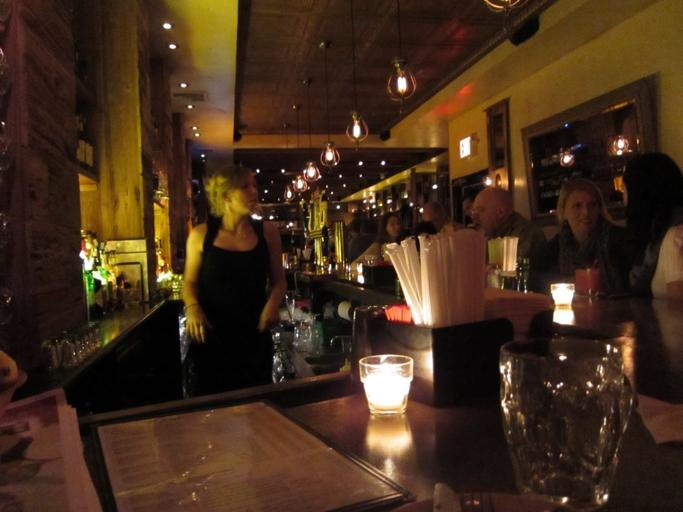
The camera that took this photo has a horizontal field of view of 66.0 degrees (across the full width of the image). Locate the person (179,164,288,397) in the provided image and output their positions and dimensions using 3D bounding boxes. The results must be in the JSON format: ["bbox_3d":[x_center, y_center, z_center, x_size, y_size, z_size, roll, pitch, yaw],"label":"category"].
[{"bbox_3d":[-0.547,0.140,2.690,0.543,1.179,0.426,-5,11,-18],"label":"person"}]

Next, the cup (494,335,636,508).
[{"bbox_3d":[0.379,0.264,0.868,0.189,0.246,0.139,-5,11,-17],"label":"cup"}]

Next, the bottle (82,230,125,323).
[{"bbox_3d":[-1.275,0.122,2.812,0.134,0.421,0.420,-8,3,-4],"label":"bottle"}]

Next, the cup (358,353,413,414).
[{"bbox_3d":[0.101,0.286,1.193,0.106,0.106,0.121,0,-6,-3],"label":"cup"}]

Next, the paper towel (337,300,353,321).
[{"bbox_3d":[0.025,0.293,2.829,0.087,0.088,0.102,-9,4,-28],"label":"paper towel"}]
